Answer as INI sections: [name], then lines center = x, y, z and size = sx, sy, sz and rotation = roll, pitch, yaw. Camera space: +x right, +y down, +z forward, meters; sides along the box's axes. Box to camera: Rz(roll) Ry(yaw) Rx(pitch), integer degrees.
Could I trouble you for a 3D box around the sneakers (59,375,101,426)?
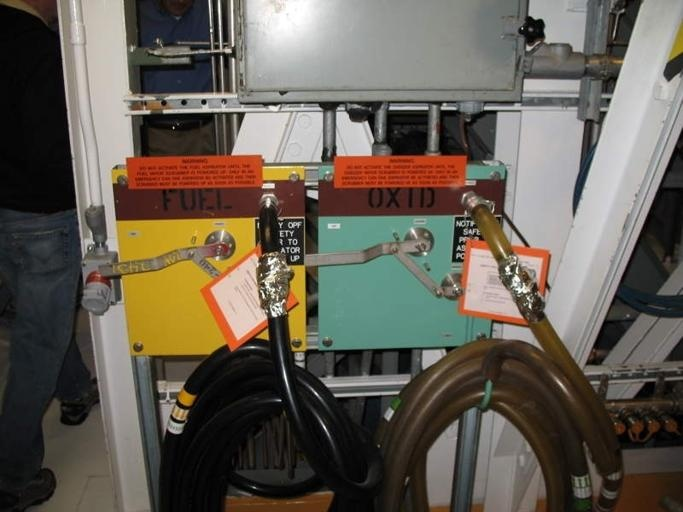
[sneakers]
center = -1.448, 0.821, 3.216
size = 0.169, 0.246, 0.096
rotation = 10, -29, 5
